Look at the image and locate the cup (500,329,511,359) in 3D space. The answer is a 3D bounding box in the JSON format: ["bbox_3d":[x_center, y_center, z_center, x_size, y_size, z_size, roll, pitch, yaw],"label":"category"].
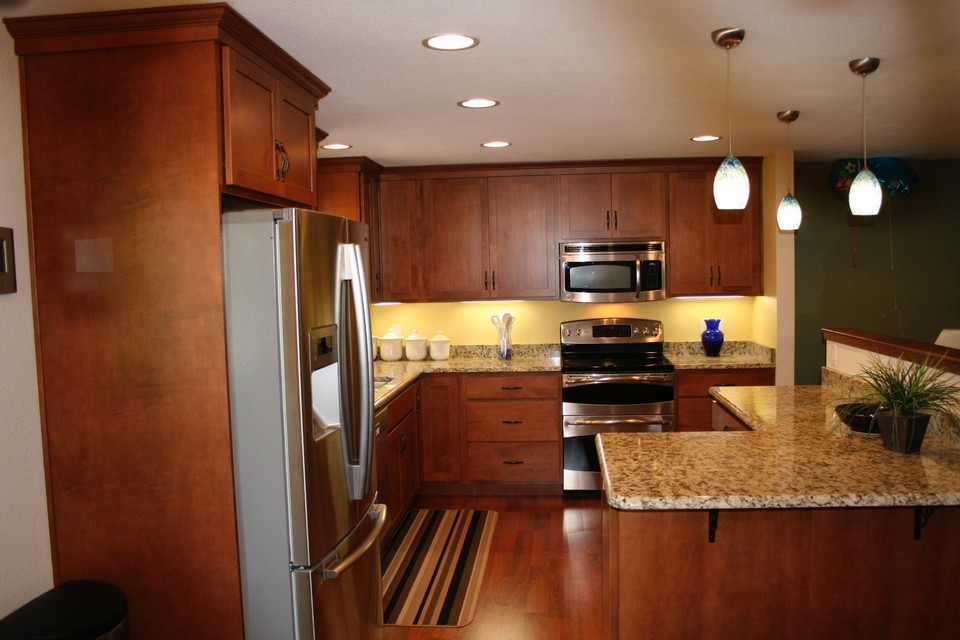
[{"bbox_3d":[0.208,0.177,6.387,0.103,0.288,0.140,-2,11,2],"label":"cup"}]

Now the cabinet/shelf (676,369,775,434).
[{"bbox_3d":[1.918,0.512,6.046,0.785,0.745,0.453,0,-1,4],"label":"cabinet/shelf"}]

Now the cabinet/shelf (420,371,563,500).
[{"bbox_3d":[0.078,0.854,6.324,1.472,1.245,0.854,0,-2,3],"label":"cabinet/shelf"}]

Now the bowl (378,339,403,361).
[{"bbox_3d":[-0.755,0.236,6.394,0.183,0.145,0.193,-1,6,0],"label":"bowl"}]

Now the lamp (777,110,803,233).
[{"bbox_3d":[1.820,-0.878,4.496,0.164,0.703,0.161,-10,14,-20],"label":"lamp"}]

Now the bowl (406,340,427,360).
[{"bbox_3d":[-0.528,0.243,6.345,0.168,0.156,0.170,-3,3,0],"label":"bowl"}]

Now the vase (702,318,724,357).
[{"bbox_3d":[1.921,0.137,6.278,0.172,0.304,0.244,1,11,16],"label":"vase"}]

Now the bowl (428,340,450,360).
[{"bbox_3d":[-0.333,0.237,6.332,0.166,0.133,0.164,-2,9,0],"label":"bowl"}]

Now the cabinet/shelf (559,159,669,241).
[{"bbox_3d":[1.047,-0.904,6.041,0.928,0.608,0.536,0,0,5],"label":"cabinet/shelf"}]

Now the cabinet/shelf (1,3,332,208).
[{"bbox_3d":[-1.264,-0.928,3.447,1.273,0.858,0.611,-6,12,-21],"label":"cabinet/shelf"}]

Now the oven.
[{"bbox_3d":[1.050,0.860,6.127,0.908,0.991,0.731,-1,6,-5],"label":"oven"}]
